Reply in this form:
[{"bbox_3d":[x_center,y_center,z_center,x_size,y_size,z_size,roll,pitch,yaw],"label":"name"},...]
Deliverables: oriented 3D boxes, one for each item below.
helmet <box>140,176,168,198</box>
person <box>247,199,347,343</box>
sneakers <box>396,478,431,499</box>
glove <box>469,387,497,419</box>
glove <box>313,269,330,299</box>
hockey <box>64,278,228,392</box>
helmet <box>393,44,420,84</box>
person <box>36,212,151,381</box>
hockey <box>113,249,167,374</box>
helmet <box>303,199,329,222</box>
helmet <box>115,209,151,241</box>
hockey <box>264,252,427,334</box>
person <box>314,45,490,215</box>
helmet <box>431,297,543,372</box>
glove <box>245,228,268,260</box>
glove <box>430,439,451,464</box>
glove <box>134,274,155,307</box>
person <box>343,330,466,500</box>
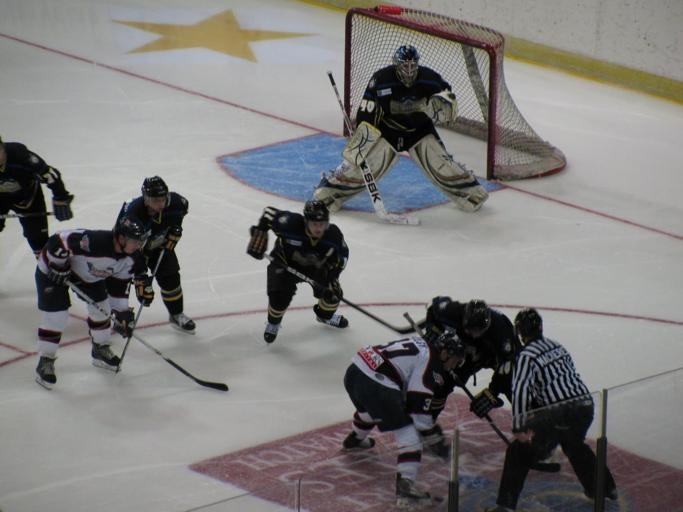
[{"bbox_3d":[-1.222,-0.440,4.854,0.126,0.148,0.150,0,-1,-19],"label":"helmet"},{"bbox_3d":[-0.259,0.091,5.106,0.785,1.005,0.540,3,24,-9],"label":"person"},{"bbox_3d":[0.338,1.106,3.529,0.141,0.060,0.080,18,35,15],"label":"sneakers"},{"bbox_3d":[0.791,0.820,4.162,0.161,0.157,0.057,-29,5,2],"label":"glove"},{"bbox_3d":[-0.139,0.188,5.119,0.145,0.147,0.272,10,6,-2],"label":"glove"},{"bbox_3d":[-1.323,0.544,4.930,0.983,0.085,0.111,40,66,15],"label":"hockey"},{"bbox_3d":[0.553,-1.620,6.375,0.218,0.325,0.240,2,19,3],"label":"helmet"},{"bbox_3d":[-1.591,0.250,4.749,0.710,1.095,0.563,9,15,-2],"label":"person"},{"bbox_3d":[-1.342,0.372,4.938,0.044,0.916,0.039,22,-14,37],"label":"hockey"},{"bbox_3d":[-0.162,-0.286,4.871,0.128,0.144,0.153,-7,-8,-18],"label":"helmet"},{"bbox_3d":[-1.274,-0.184,4.556,0.199,0.181,0.154,28,12,-4],"label":"helmet"},{"bbox_3d":[0.000,0.289,5.358,0.983,0.139,0.140,26,-29,-3],"label":"hockey"},{"bbox_3d":[0.544,-1.109,6.746,1.602,1.491,0.776,1,23,8],"label":"person"},{"bbox_3d":[0.776,0.481,4.310,0.400,0.161,0.535,21,19,16],"label":"helmet"},{"bbox_3d":[-0.576,-0.084,5.106,0.180,0.189,0.068,2,1,-21],"label":"glove"},{"bbox_3d":[0.460,0.897,3.457,0.100,0.074,0.037,47,0,14],"label":"glove"},{"bbox_3d":[-1.351,0.216,4.957,0.146,0.188,0.199,-4,13,-14],"label":"glove"},{"bbox_3d":[0.336,0.804,4.121,0.683,0.817,1.022,2,3,-18],"label":"person"}]
